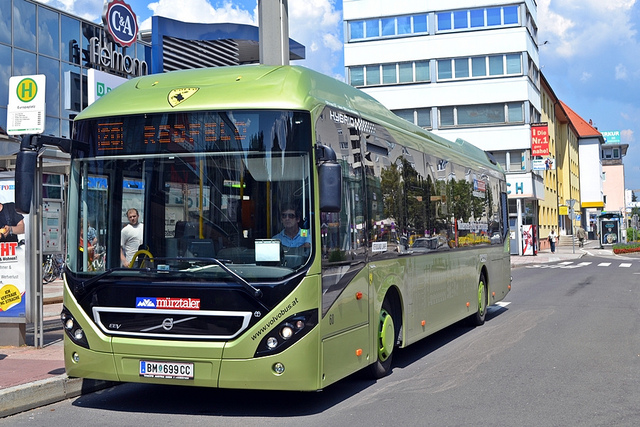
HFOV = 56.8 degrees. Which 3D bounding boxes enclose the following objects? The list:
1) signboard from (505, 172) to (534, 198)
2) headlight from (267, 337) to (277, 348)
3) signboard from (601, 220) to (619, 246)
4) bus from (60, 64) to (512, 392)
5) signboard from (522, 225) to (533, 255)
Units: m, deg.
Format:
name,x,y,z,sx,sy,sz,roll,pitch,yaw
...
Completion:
name,x,y,z,sx,sy,sz,roll,pitch,yaw
signboard,15.034,-2.171,44.858,2.638,1.863,2.683,-3,-3,27
headlight,-0.590,1.579,7.232,0.106,0.125,0.109,0,-1,-4
signboard,32.768,2.186,67.444,2.173,3.390,2.300,-1,-2,-9
bus,0.552,0.437,11.430,3.037,3.542,9.852,-2,-4,27
signboard,15.149,1.957,43.527,0.718,2.172,1.048,0,0,18
